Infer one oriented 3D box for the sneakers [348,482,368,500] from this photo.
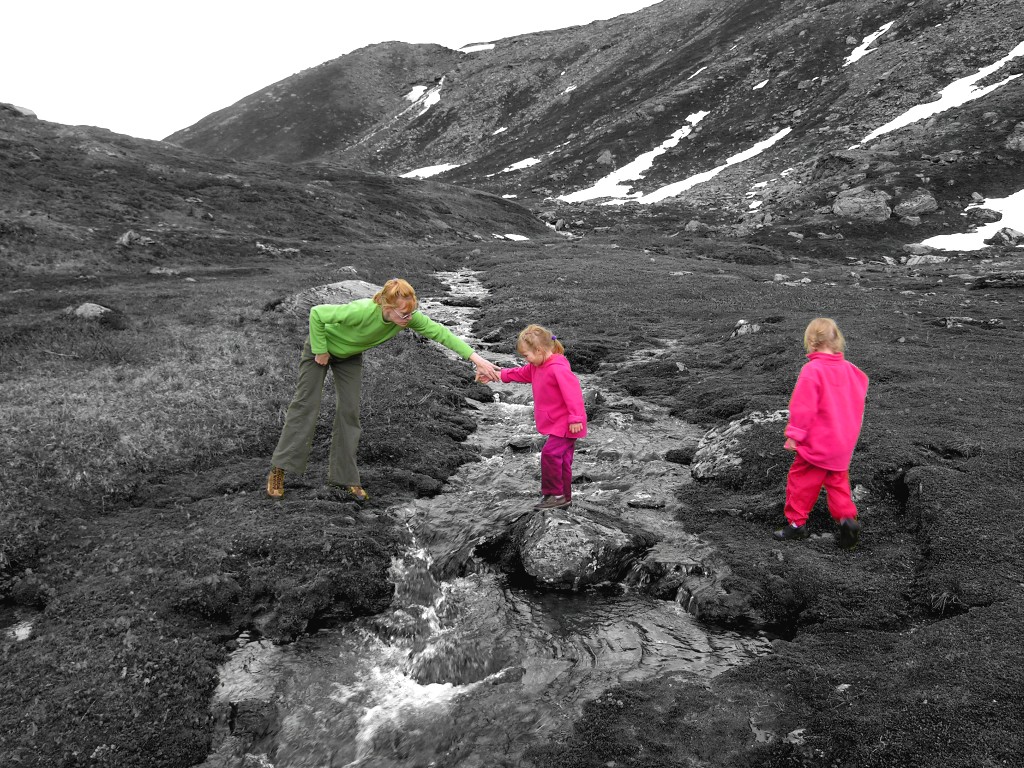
[{"bbox_3d":[-3.152,2.215,14.780,0.342,0.122,0.379,4,9,-16],"label":"sneakers"}]
